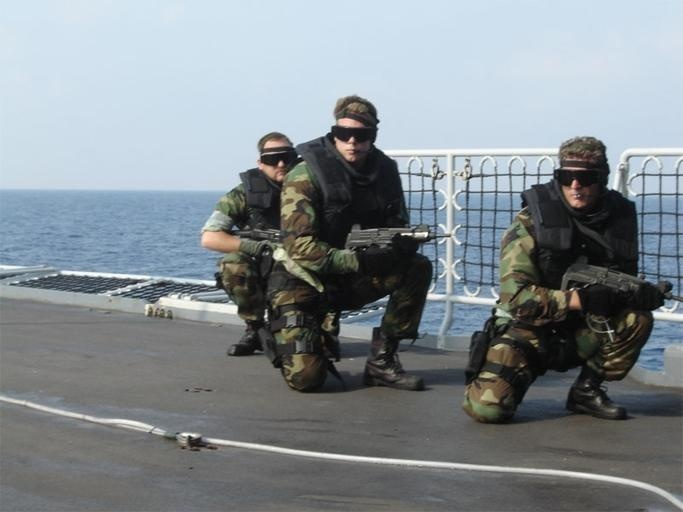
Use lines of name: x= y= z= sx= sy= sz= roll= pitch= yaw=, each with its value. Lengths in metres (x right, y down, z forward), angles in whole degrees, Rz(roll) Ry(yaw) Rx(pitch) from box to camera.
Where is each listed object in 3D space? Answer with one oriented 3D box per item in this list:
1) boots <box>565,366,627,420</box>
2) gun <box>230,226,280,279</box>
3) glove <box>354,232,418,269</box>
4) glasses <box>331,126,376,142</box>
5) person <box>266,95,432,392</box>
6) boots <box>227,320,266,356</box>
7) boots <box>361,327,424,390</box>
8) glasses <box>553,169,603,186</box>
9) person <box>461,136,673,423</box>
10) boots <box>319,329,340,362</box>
boots: x=1.668 y=0.889 z=5.799 sx=0.181 sy=0.305 sz=0.406 roll=5 pitch=5 yaw=-42
gun: x=-0.633 y=-0.046 z=7.020 sx=0.485 sy=0.343 sz=0.181 roll=4 pitch=-4 yaw=17
glove: x=0.298 y=-0.033 z=6.239 sx=0.442 sy=0.281 sz=0.181 roll=2 pitch=10 yaw=-1
glasses: x=0.071 y=-0.866 z=6.304 sx=0.328 sy=0.109 sz=0.188 roll=3 pitch=9 yaw=5
person: x=0.062 y=-0.105 z=6.382 sx=1.150 sy=2.062 sz=0.745 roll=2 pitch=11 yaw=-4
boots: x=-0.787 y=0.665 z=7.334 sx=0.150 sy=0.234 sz=0.438 roll=-3 pitch=3 yaw=35
boots: x=0.404 y=0.749 z=6.427 sx=0.252 sy=0.382 sz=0.592 roll=2 pitch=2 yaw=-39
glasses: x=1.482 y=-0.501 z=5.661 sx=0.283 sy=0.109 sz=0.117 roll=4 pitch=10 yaw=11
person: x=1.427 y=0.144 z=5.694 sx=1.188 sy=1.797 sz=0.639 roll=4 pitch=11 yaw=4
boots: x=-0.065 y=0.685 z=6.756 sx=0.215 sy=0.228 sz=0.109 roll=10 pitch=15 yaw=38
